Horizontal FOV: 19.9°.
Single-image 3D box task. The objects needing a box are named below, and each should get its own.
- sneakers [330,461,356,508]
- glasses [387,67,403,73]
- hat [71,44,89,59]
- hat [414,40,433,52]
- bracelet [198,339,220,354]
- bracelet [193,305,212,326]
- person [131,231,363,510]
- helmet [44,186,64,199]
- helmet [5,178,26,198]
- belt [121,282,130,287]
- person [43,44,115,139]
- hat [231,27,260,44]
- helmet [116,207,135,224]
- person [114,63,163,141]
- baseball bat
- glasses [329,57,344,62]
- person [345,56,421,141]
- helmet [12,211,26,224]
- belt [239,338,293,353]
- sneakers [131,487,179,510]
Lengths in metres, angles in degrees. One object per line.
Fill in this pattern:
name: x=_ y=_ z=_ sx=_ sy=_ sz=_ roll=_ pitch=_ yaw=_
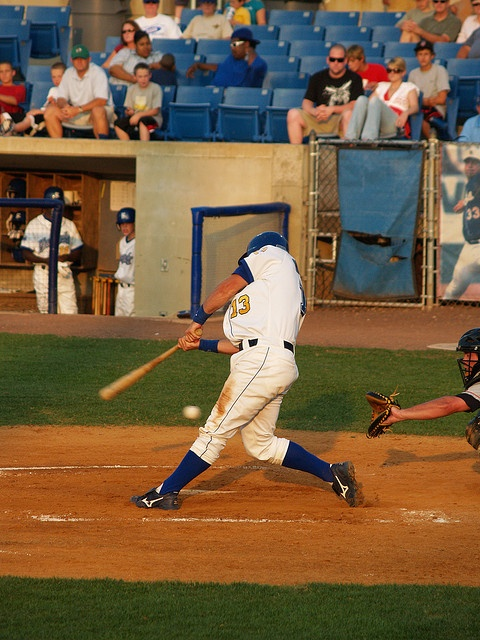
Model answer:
sneakers: x=0.690 y=1.099 z=9.287 sx=0.145 sy=0.332 sz=0.118 roll=-10 pitch=21 yaw=9
glasses: x=1.794 y=-2.919 z=16.095 sx=0.210 sy=0.069 sz=0.170 roll=8 pitch=13 yaw=20
hat: x=-2.017 y=-3.346 z=17.230 sx=0.214 sy=0.169 sz=0.229 roll=2 pitch=12 yaw=-9
hat: x=2.243 y=-3.325 z=16.776 sx=0.219 sy=0.138 sz=0.342 roll=5 pitch=12 yaw=6
bracelet: x=-0.222 y=0.179 z=9.425 sx=0.134 sy=0.083 sz=0.058 roll=2 pitch=-6 yaw=12
bracelet: x=-0.259 y=-0.017 z=9.237 sx=0.092 sy=0.108 sz=0.132 roll=0 pitch=1 yaw=11
person: x=0.076 y=0.388 z=9.182 sx=1.416 sy=1.871 sz=0.579 roll=3 pitch=12 yaw=-4
helmet: x=-2.476 y=-1.678 z=18.349 sx=0.195 sy=0.170 sz=0.281 roll=14 pitch=-3 yaw=16
helmet: x=-3.114 y=-1.819 z=19.184 sx=0.235 sy=0.347 sz=0.321 roll=2 pitch=-7 yaw=19
belt: x=-1.505 y=-0.452 z=17.932 sx=0.123 sy=0.040 sz=0.030 roll=-1 pitch=-10 yaw=41
person: x=-1.987 y=-2.790 z=17.458 sx=0.891 sy=1.284 sz=0.919 roll=14 pitch=26 yaw=36
hat: x=-0.013 y=-3.572 z=17.151 sx=0.225 sy=0.132 sz=0.293 roll=6 pitch=5 yaw=-37
helmet: x=-1.541 y=-1.387 z=18.358 sx=0.202 sy=0.206 sz=0.227 roll=0 pitch=-3 yaw=0
person: x=-1.272 y=-2.767 z=17.498 sx=0.546 sy=0.979 sz=0.552 roll=12 pitch=15 yaw=35
baseball bat: x=-0.825 y=0.451 z=12.589 sx=0.130 sy=0.948 sz=0.124 roll=31 pitch=28 yaw=-45
glasses: x=1.121 y=-3.050 z=16.114 sx=0.170 sy=0.063 sz=0.146 roll=4 pitch=12 yaw=2
person: x=1.671 y=-2.582 z=16.090 sx=0.896 sy=0.963 sz=0.475 roll=-7 pitch=16 yaw=-40
helmet: x=-3.066 y=-1.408 z=19.031 sx=0.134 sy=0.196 sz=0.193 roll=0 pitch=-9 yaw=16
belt: x=0.162 y=0.176 z=9.015 sx=0.361 sy=0.117 sz=0.147 roll=4 pitch=12 yaw=-1
sneakers: x=-0.577 y=1.212 z=9.256 sx=0.295 sy=0.136 sz=0.127 roll=4 pitch=-5 yaw=7
